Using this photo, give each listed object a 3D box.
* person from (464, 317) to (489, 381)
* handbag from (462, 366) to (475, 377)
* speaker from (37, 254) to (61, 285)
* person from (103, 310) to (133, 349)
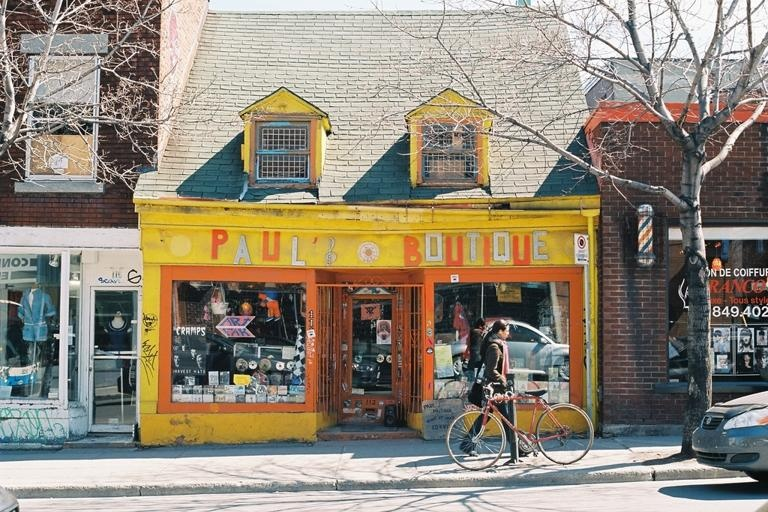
[{"bbox_3d":[2.067,1.952,31.847,0.505,1.453,0.402,0,20,4],"label":"person"},{"bbox_3d":[1.850,2.519,32.432,0.318,0.332,0.256,0,5,7],"label":"handbag"},{"bbox_3d":[-7.270,0.317,32.689,0.707,0.827,0.622,2,-3,-10],"label":"speaker"},{"bbox_3d":[-5.804,1.673,32.955,0.961,1.097,0.433,0,-3,-9],"label":"person"}]
